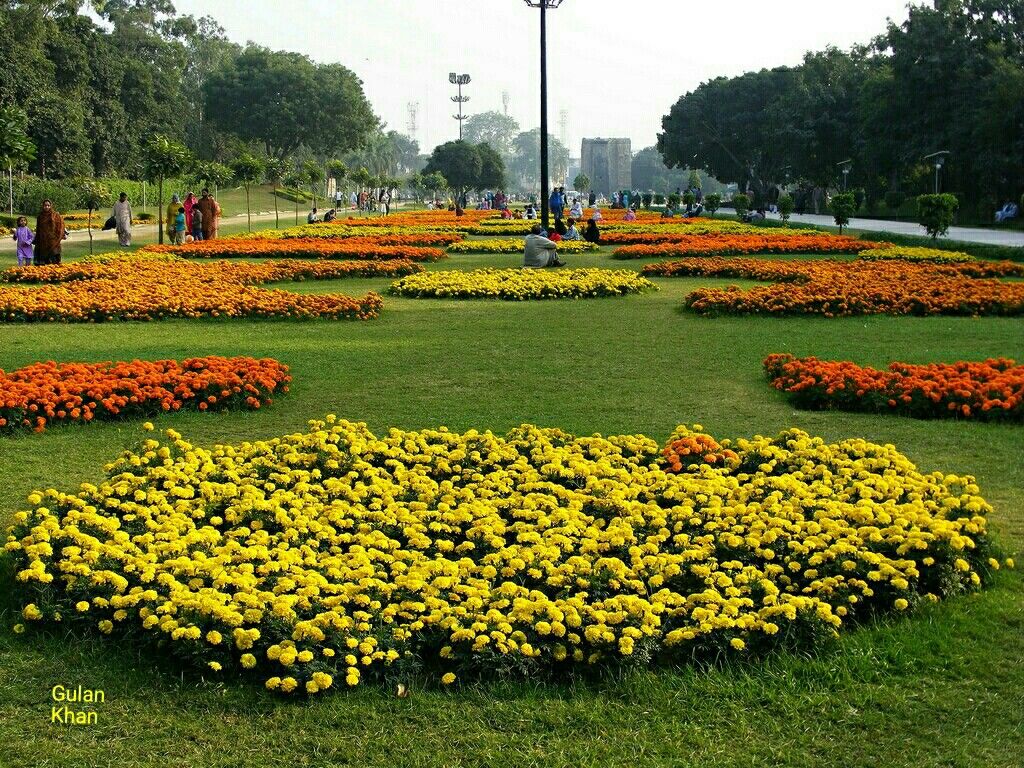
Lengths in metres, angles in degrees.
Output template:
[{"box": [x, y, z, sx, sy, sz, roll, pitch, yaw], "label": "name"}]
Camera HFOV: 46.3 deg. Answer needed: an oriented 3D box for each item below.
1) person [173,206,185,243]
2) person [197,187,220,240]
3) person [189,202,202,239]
[{"box": [-6.797, -3.220, 24.311, 0.174, 0.715, 0.555, -1, 13, -21], "label": "person"}, {"box": [-6.572, -3.583, 25.806, 0.385, 1.002, 1.695, 1, 13, -14], "label": "person"}, {"box": [-6.747, -3.433, 25.393, 0.280, 0.743, 0.853, 1, 13, -14], "label": "person"}]
